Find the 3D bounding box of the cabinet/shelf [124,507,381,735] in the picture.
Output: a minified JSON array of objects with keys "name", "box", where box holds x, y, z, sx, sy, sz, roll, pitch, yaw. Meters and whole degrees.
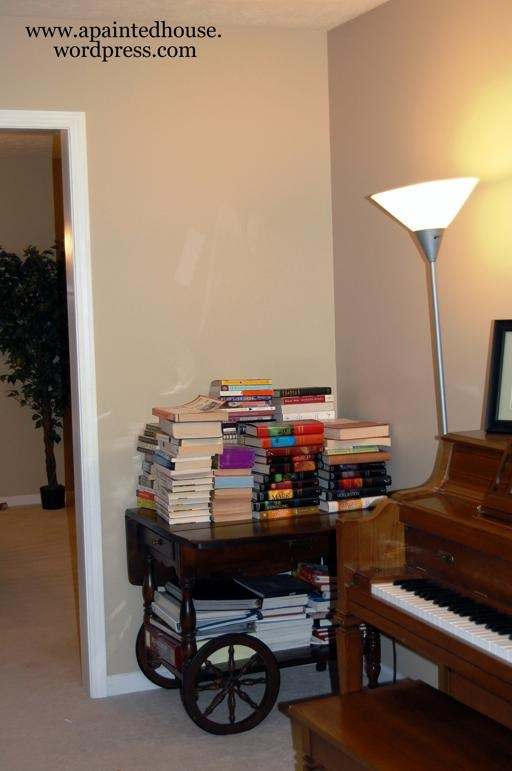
[{"name":"cabinet/shelf","box":[-0.068,0.735,2.143,0.978,0.784,0.771,-1,2,-18]}]
